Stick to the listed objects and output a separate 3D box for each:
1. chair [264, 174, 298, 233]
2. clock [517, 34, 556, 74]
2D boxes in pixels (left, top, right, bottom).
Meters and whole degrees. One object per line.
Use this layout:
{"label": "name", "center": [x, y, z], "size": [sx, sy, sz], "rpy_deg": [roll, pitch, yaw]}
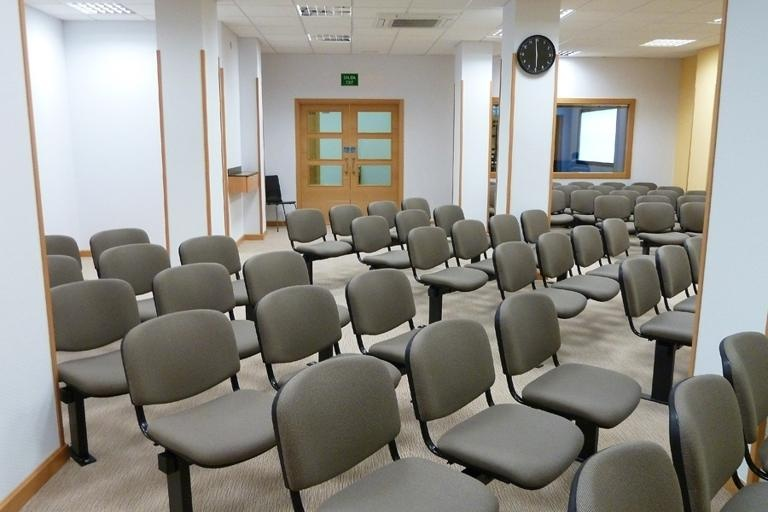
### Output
{"label": "chair", "center": [-2.152, -1.163, 10.658], "size": [0.632, 0.968, 0.588], "rpy_deg": [6, 15, 25]}
{"label": "clock", "center": [2.037, -2.750, 7.015], "size": [0.493, 0.537, 0.067], "rpy_deg": [-1, 9, -2]}
